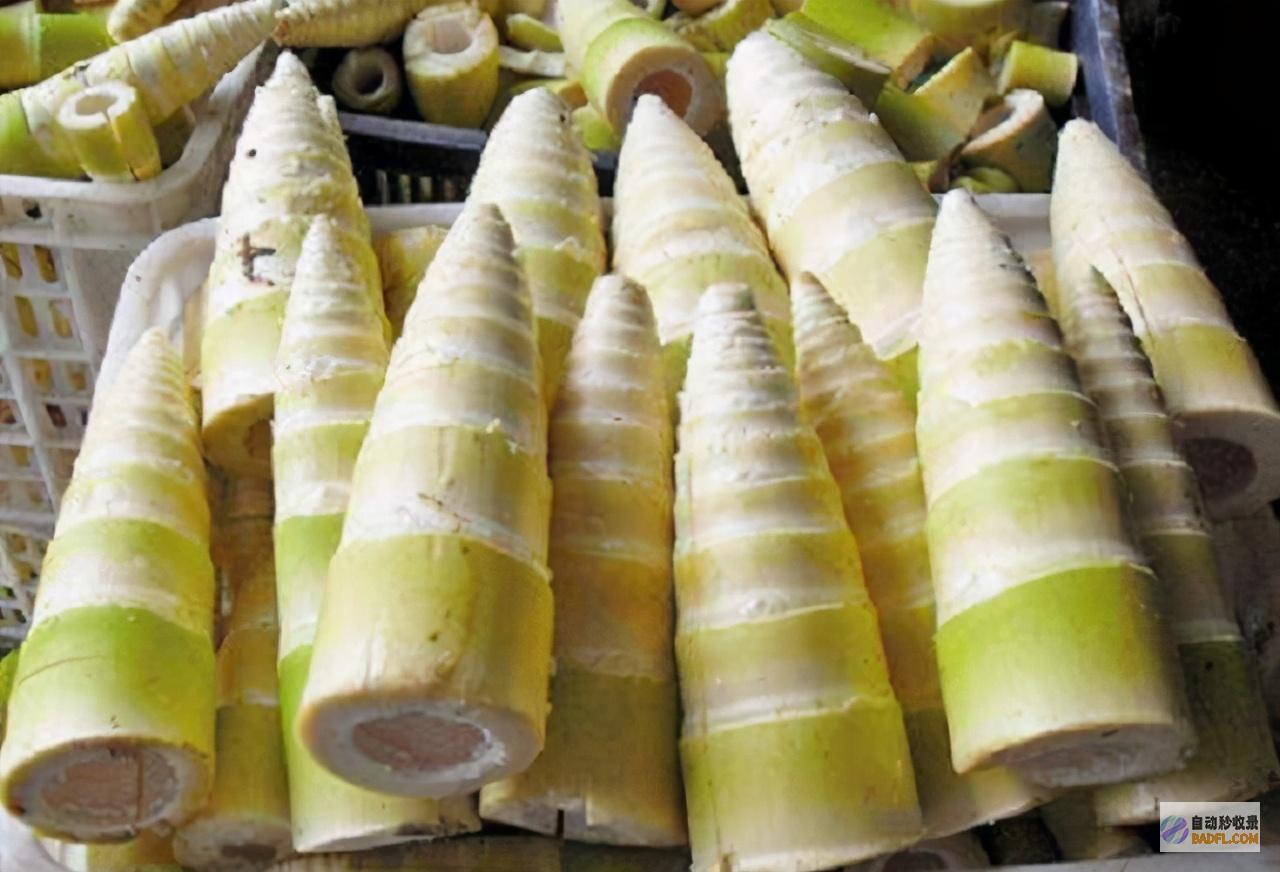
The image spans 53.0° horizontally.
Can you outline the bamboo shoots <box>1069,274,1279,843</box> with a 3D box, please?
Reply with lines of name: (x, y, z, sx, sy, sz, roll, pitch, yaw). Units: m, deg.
bamboo shoots: (0.413, 0.079, 1.011, 0.154, 0.422, 0.197, 0, 5, 16)
